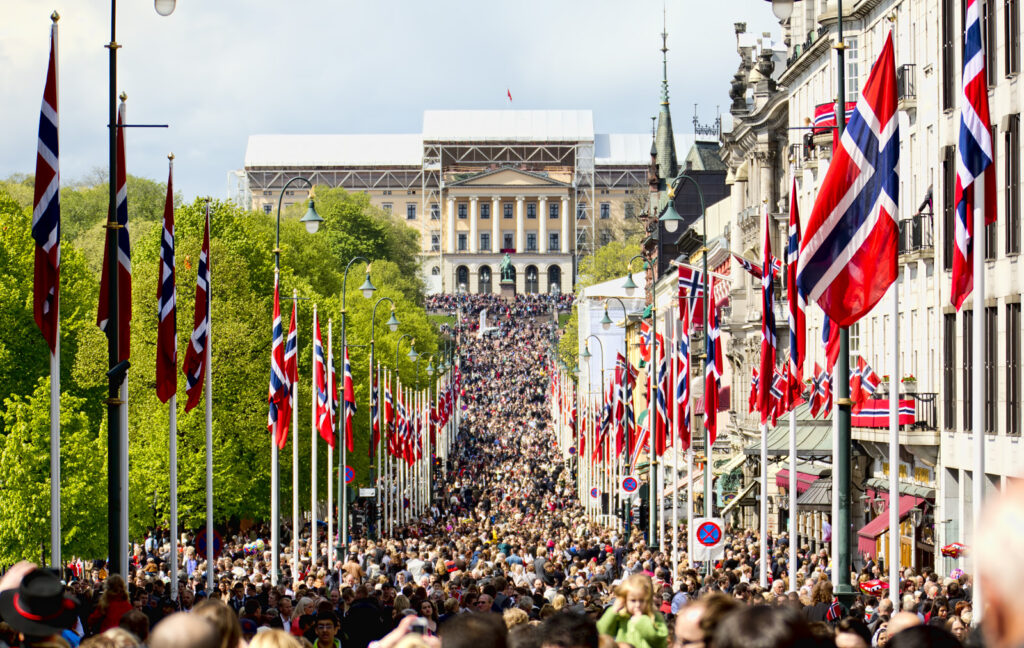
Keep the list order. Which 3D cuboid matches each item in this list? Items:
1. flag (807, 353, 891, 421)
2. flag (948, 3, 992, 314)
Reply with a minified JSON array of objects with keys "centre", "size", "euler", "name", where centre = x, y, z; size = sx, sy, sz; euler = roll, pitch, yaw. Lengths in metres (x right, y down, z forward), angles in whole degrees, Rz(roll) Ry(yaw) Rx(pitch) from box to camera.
[{"centre":[10.733,1.985,86.167],"size":[2.578,2.693,0.365],"euler":[-1,-18,-11],"name":"flag"},{"centre":[11.869,-4.597,70.575],"size":[1.077,7.962,1.699],"euler":[-1,-7,9],"name":"flag"}]
